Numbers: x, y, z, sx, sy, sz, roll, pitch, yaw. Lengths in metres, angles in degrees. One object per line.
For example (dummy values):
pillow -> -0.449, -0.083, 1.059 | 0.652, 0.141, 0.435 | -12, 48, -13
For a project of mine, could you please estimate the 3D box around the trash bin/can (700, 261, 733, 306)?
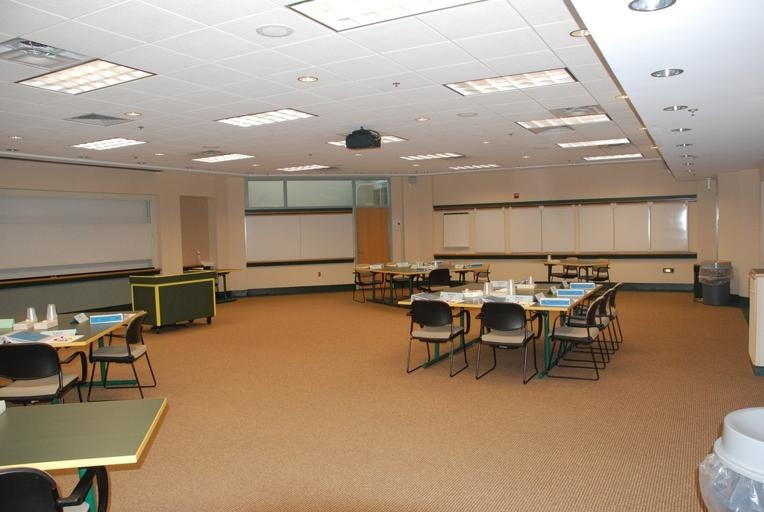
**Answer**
trash bin/can -> 7.894, 0.633, 11.765 | 0.623, 1.005, 0.491 | 2, 12, 20

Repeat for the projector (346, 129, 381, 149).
projector -> -0.328, -2.010, 8.692 | 0.588, 0.323, 0.413 | 2, 4, 32

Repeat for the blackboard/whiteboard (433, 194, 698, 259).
blackboard/whiteboard -> 5.448, -0.873, 14.978 | 6.771, 1.766, 0.386 | 2, 12, 20
